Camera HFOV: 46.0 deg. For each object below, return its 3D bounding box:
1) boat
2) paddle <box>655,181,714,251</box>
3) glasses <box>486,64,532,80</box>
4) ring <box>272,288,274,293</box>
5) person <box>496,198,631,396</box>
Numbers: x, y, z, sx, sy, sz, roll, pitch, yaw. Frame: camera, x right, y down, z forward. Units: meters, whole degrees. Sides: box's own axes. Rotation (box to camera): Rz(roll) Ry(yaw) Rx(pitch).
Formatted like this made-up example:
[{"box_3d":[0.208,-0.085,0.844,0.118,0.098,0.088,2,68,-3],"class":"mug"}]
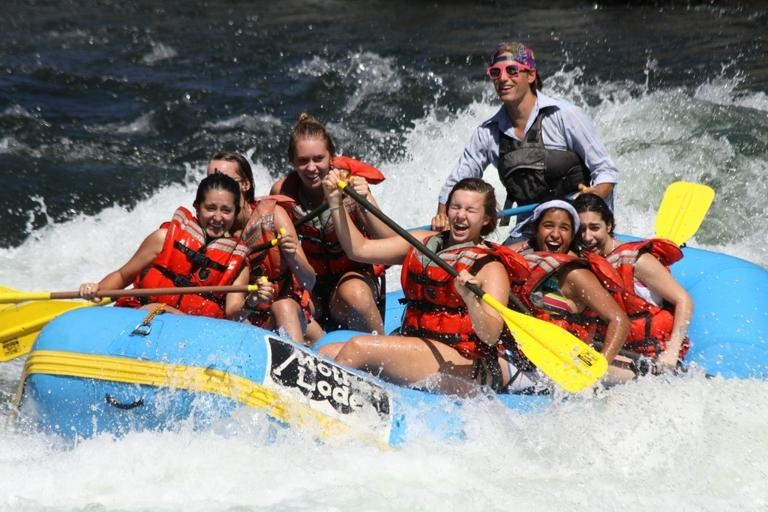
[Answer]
[{"box_3d":[-0.139,0.780,7.028,4.370,0.967,2.183,-2,23,-14],"class":"boat"},{"box_3d":[2.739,-0.423,8.317,0.430,0.722,0.172,24,3,25],"class":"paddle"},{"box_3d":[1.111,-1.659,8.126,0.370,0.159,0.137,6,28,17],"class":"glasses"},{"box_3d":[-0.899,0.268,7.285,0.022,0.022,0.008,-2,-13,-38],"class":"ring"},{"box_3d":[1.393,0.225,7.382,1.420,1.172,1.126,-10,18,-18],"class":"person"}]
